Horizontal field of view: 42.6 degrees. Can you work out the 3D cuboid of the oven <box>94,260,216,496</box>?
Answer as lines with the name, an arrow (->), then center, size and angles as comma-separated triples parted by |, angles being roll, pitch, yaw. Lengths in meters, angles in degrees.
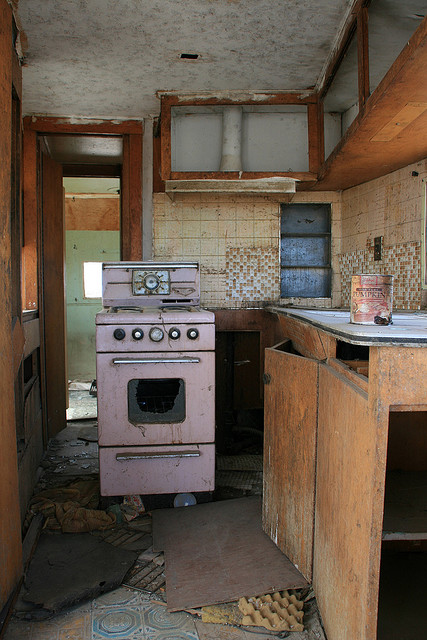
oven -> -0.288, 0.270, 2.782 | 0.639, 1.167, 0.666 | -2, 5, -25

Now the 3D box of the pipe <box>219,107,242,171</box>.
pipe -> 0.120, -1.134, 3.473 | 0.159, 0.410, 0.135 | -3, 4, -6

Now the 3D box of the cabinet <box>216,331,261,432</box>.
cabinet -> 0.174, 0.448, 3.890 | 0.319, 0.744, 0.230 | -3, 4, 0

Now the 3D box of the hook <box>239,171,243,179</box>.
hook -> 0.167, -0.881, 3.336 | 0.009, 0.031, 0.024 | -2, -13, -31
